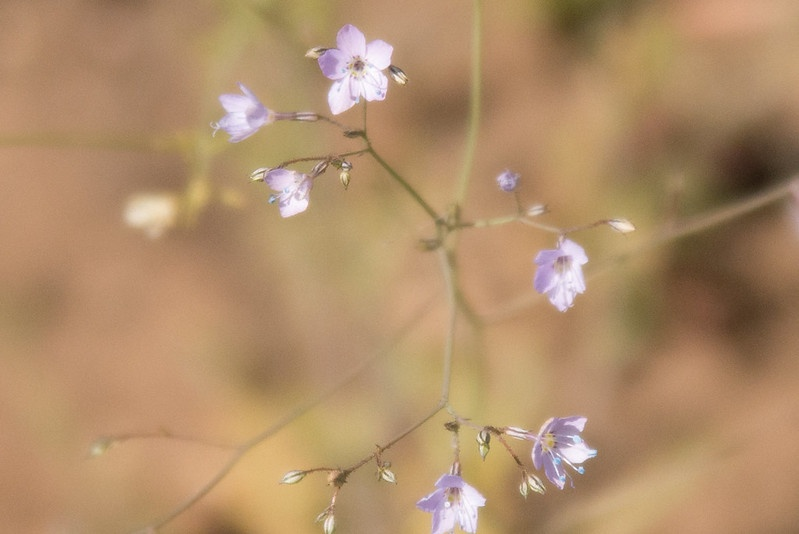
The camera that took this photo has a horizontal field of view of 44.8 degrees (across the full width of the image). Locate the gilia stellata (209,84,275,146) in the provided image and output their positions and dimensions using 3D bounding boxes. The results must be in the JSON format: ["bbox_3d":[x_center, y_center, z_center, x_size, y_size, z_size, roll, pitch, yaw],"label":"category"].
[{"bbox_3d":[-0.649,-0.620,3.992,0.203,0.111,0.259,-6,-81,18],"label":"gilia stellata"}]

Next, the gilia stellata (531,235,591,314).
[{"bbox_3d":[0.662,0.016,4.021,0.240,0.169,0.257,29,-85,-2],"label":"gilia stellata"}]

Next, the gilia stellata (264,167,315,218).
[{"bbox_3d":[-0.469,-0.309,4.033,0.186,0.103,0.192,0,-85,1],"label":"gilia stellata"}]

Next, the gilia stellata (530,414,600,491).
[{"bbox_3d":[0.664,0.799,4.056,0.269,0.181,0.332,-28,-63,-25],"label":"gilia stellata"}]
